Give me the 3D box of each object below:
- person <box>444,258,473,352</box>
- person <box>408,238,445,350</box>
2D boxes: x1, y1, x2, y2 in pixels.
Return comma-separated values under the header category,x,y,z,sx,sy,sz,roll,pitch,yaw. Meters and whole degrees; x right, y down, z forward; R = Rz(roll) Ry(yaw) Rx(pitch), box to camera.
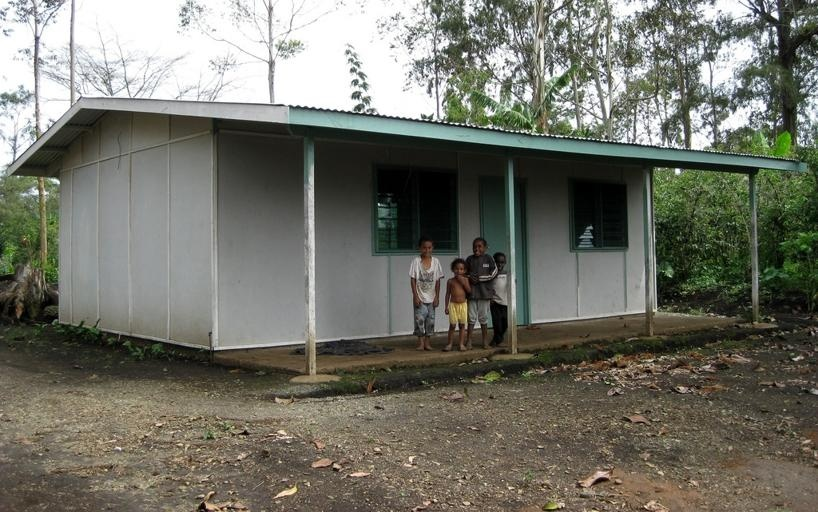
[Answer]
category,x,y,z,sx,sy,sz,roll,pitch,yaw
person,0.824,0.868,11.635,0.431,1.687,0.988,1,14,4
person,0.259,0.685,11.553,0.490,1.996,0.602,5,15,20
